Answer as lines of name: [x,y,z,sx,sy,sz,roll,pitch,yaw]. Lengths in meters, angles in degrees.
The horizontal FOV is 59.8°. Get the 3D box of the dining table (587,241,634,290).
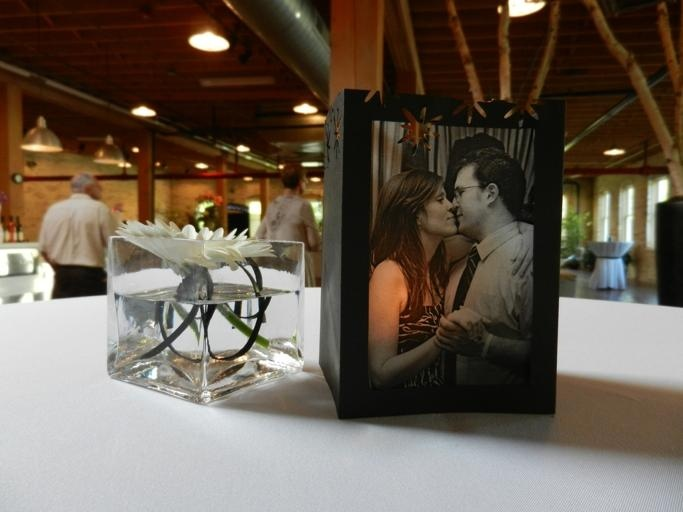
dining table: [3.512,0.128,7.642,0.628,0.729,0.656,0,-3,-1]

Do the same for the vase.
vase: [-0.129,0.040,0.583,0.138,0.149,0.142,4,2,37]

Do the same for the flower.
flower: [-0.135,0.028,0.537,0.125,0.117,0.137,1,-1,19]

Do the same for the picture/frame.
picture/frame: [0.093,-0.022,0.545,0.186,0.293,0.161,-1,19,0]
